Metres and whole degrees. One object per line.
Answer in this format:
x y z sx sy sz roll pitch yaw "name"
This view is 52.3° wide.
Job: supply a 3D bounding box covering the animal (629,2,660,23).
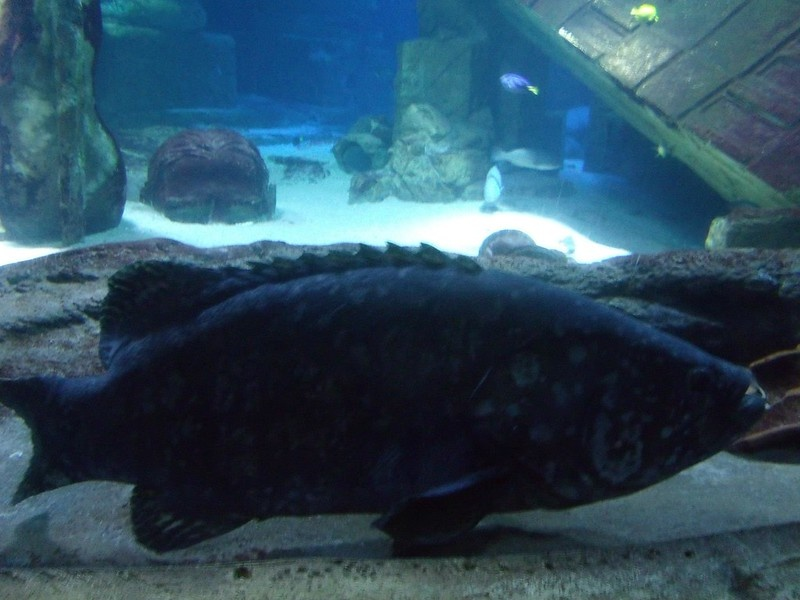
2.104 -2.460 6.953 0.144 0.179 0.231 14 31 -22 "animal"
